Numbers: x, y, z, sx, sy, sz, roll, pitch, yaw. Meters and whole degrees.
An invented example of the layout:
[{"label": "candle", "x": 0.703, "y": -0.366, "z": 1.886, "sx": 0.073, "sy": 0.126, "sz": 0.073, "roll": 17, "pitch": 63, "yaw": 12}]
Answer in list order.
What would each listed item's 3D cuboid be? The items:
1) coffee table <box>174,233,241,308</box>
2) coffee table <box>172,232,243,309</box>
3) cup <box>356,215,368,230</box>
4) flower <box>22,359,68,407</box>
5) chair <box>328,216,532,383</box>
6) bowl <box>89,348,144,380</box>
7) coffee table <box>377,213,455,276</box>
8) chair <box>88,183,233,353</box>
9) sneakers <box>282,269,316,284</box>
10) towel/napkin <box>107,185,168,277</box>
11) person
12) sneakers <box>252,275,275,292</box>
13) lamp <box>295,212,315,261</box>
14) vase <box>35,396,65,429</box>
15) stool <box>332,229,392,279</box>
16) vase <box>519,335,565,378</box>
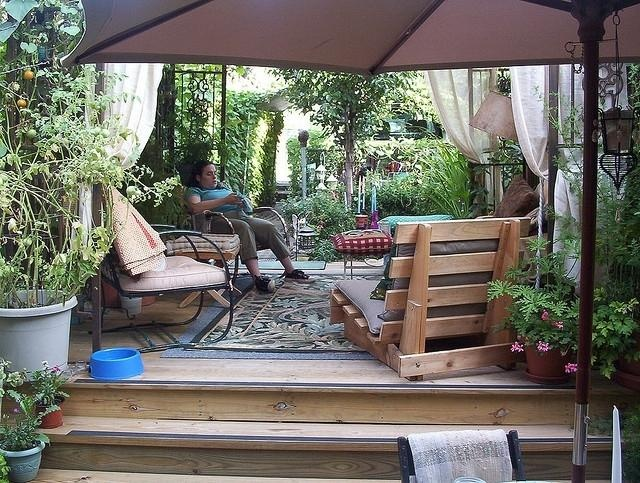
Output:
[{"label": "coffee table", "x": -1.157, "y": 0.308, "z": 4.866, "sx": 0.617, "sy": 0.569, "sz": 0.625, "roll": -2, "pitch": -6, "yaw": -20}, {"label": "coffee table", "x": -1.098, "y": 0.265, "z": 4.906, "sx": 0.743, "sy": 0.587, "sz": 0.711, "roll": -4, "pitch": 2, "yaw": 12}, {"label": "cup", "x": 0.645, "y": -0.283, "z": 7.819, "sx": 0.249, "sy": 0.199, "sz": 0.218, "roll": 1, "pitch": 10, "yaw": 10}, {"label": "flower", "x": -1.601, "y": 0.837, "z": 2.996, "sx": 0.192, "sy": 0.237, "sz": 0.193, "roll": -4, "pitch": -3, "yaw": -19}, {"label": "chair", "x": 0.755, "y": 0.380, "z": 3.837, "sx": 1.134, "sy": 0.804, "sz": 1.557, "roll": 4, "pitch": 1, "yaw": -15}, {"label": "bowl", "x": -1.277, "y": 0.772, "z": 3.211, "sx": 0.251, "sy": 0.074, "sz": 0.218, "roll": -1, "pitch": 7, "yaw": -11}, {"label": "coffee table", "x": 1.029, "y": -0.008, "z": 6.201, "sx": 1.036, "sy": 0.715, "sz": 0.217, "roll": 1, "pitch": 7, "yaw": -21}, {"label": "chair", "x": -1.253, "y": 0.204, "z": 3.922, "sx": 1.008, "sy": 0.906, "sz": 0.788, "roll": -1, "pitch": 2, "yaw": -25}, {"label": "sneakers", "x": -0.259, "y": 0.401, "z": 5.794, "sx": 0.387, "sy": 0.108, "sz": 0.131, "roll": 1, "pitch": 4, "yaw": 15}, {"label": "towel/napkin", "x": -1.321, "y": -0.042, "z": 3.651, "sx": 0.201, "sy": 0.560, "sz": 0.552, "roll": -27, "pitch": -24, "yaw": 9}, {"label": "person", "x": -0.842, "y": -0.202, "z": 5.569, "sx": 1.791, "sy": 1.053, "sz": 0.760, "roll": 19, "pitch": 19, "yaw": 42}, {"label": "sneakers", "x": -0.578, "y": 0.441, "z": 5.289, "sx": 0.110, "sy": 0.098, "sz": 0.275, "roll": -2, "pitch": 11, "yaw": -25}, {"label": "lamp", "x": -0.232, "y": -0.119, "z": 8.069, "sx": 0.387, "sy": 0.516, "sz": 0.280, "roll": 0, "pitch": 13, "yaw": -6}, {"label": "vase", "x": -1.553, "y": 1.002, "z": 2.986, "sx": 0.177, "sy": 0.107, "sz": 0.147, "roll": 1, "pitch": 1, "yaw": -20}, {"label": "stool", "x": 0.429, "y": 0.217, "z": 5.774, "sx": 0.677, "sy": 0.350, "sz": 0.715, "roll": 0, "pitch": 25, "yaw": 0}, {"label": "vase", "x": 1.370, "y": 0.725, "z": 3.232, "sx": 0.279, "sy": 0.160, "sz": 0.250, "roll": 0, "pitch": 3, "yaw": -4}]
